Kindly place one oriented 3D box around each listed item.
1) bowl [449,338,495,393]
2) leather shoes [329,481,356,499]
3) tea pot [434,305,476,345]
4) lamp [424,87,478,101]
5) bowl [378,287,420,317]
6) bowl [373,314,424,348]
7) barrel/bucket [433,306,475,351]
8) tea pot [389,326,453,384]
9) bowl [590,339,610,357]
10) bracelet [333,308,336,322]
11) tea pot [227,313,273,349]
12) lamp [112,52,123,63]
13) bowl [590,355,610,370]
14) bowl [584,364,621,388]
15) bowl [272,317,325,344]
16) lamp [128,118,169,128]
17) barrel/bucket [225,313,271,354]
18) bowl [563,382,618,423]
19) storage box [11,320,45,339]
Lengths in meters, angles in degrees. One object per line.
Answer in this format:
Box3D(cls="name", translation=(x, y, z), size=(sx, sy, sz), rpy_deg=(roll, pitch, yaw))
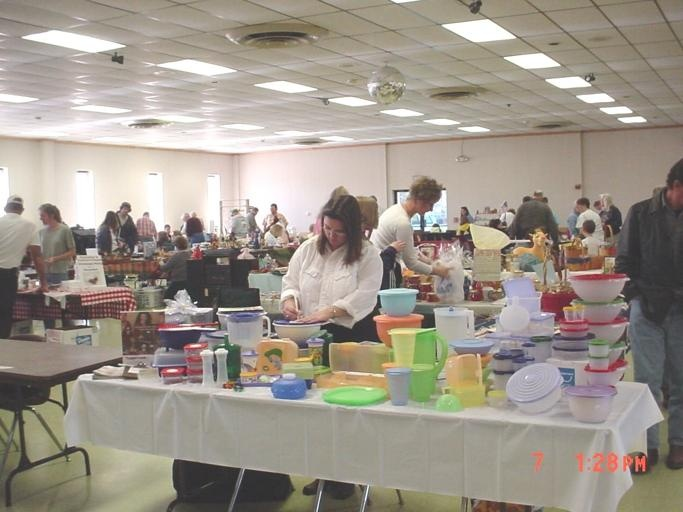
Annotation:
Box3D(cls="bowl", translation=(0.548, 0.458, 2.449), size=(0.188, 0.158, 0.183), rpy_deg=(-1, 1, 0))
Box3D(cls="leather shoes", translation=(0.005, 1.313, 3.201), size=(0.144, 0.107, 0.038), rpy_deg=(-17, 40, 11))
Box3D(cls="tea pot", translation=(0.538, 0.326, 2.675), size=(0.198, 0.170, 0.152), rpy_deg=(0, 0, 17))
Box3D(cls="lamp", translation=(2.029, -2.954, 10.353), size=(0.902, 0.159, 0.461), rpy_deg=(-1, 9, 11))
Box3D(cls="bowl", translation=(0.265, 0.220, 2.660), size=(0.165, 0.142, 0.149), rpy_deg=(-1, 10, 8))
Box3D(cls="bowl", translation=(0.292, 0.350, 2.676), size=(0.287, 0.146, 0.271), rpy_deg=(-2, -2, 0))
Box3D(cls="barrel/bucket", translation=(0.552, 0.339, 2.706), size=(0.212, 0.187, 0.162), rpy_deg=(0, -1, 13))
Box3D(cls="tea pot", translation=(0.336, 0.401, 2.361), size=(0.268, 0.243, 0.167), rpy_deg=(1, 2, 36))
Box3D(cls="bowl", translation=(0.987, 0.352, 2.203), size=(0.065, 0.062, 0.116), rpy_deg=(1, 10, 19))
Box3D(cls="bracelet", translation=(-0.034, 0.308, 2.972), size=(0.014, 0.048, 0.038), rpy_deg=(9, 5, -4))
Box3D(cls="tea pot", translation=(-0.432, 0.354, 2.712), size=(0.199, 0.146, 0.148), rpy_deg=(1, -1, 8))
Box3D(cls="lamp", translation=(-2.900, -2.562, 7.470), size=(0.144, 0.068, 0.182), rpy_deg=(-1, -15, -5))
Box3D(cls="bowl", translation=(0.973, 0.402, 2.159), size=(0.057, 0.036, 0.055), rpy_deg=(0, -5, 0))
Box3D(cls="bowl", translation=(0.995, 0.454, 2.217), size=(0.111, 0.047, 0.111), rpy_deg=(1, -7, 0))
Box3D(cls="bowl", translation=(-0.200, 0.350, 2.757), size=(0.205, 0.079, 0.247), rpy_deg=(-10, 12, -42))
Box3D(cls="lamp", translation=(-4.170, -2.908, 12.534), size=(0.798, 0.186, 2.079), rpy_deg=(-5, 9, -16))
Box3D(cls="barrel/bucket", translation=(-0.428, 0.354, 2.729), size=(0.217, 0.171, 0.137), rpy_deg=(1, -3, -2))
Box3D(cls="bowl", translation=(0.879, 0.525, 2.028), size=(0.201, 0.101, 0.194), rpy_deg=(-1, -7, 0))
Box3D(cls="storage box", translation=(-3.034, 0.707, 5.535), size=(0.269, 0.233, 0.184), rpy_deg=(4, 8, 1))
